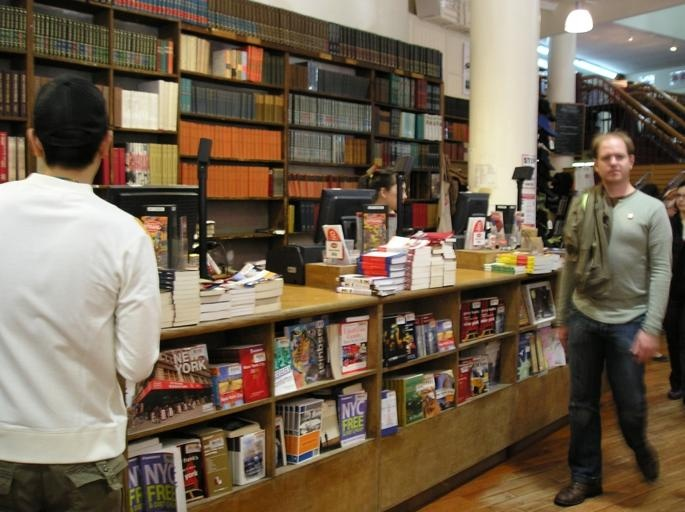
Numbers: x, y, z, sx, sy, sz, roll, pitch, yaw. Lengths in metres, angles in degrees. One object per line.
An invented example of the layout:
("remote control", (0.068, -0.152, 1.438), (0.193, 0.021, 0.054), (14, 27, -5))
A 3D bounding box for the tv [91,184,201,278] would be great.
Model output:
("tv", (-0.721, -0.100, 2.067), (0.393, 0.414, 0.206), (-10, 6, -42))

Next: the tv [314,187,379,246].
("tv", (0.045, -0.257, 3.662), (0.439, 0.380, 0.166), (-5, 11, -39))

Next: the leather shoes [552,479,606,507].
("leather shoes", (1.417, 1.382, 3.358), (0.324, 0.138, 0.116), (0, -1, -25))

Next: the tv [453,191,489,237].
("tv", (1.104, -0.369, 4.785), (0.255, 0.354, 0.385), (-1, 4, 18))

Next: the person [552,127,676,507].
("person", (1.529, 0.378, 3.199), (0.599, 2.147, 0.277), (0, 4, 31))
